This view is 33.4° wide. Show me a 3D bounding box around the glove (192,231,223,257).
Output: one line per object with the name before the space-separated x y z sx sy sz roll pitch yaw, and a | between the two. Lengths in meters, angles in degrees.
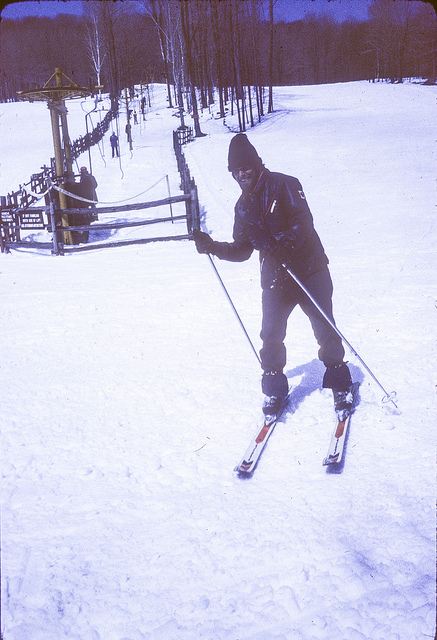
glove | -0.074 -0.534 5.166 0.123 0.228 0.095 -52 17 -18

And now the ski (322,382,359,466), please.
ski | 0.859 0.698 5.018 0.143 0.080 0.892 -7 19 26

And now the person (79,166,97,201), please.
person | -2.684 -2.878 15.378 0.291 0.669 1.250 -8 16 -9

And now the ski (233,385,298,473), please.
ski | 0.376 0.703 5.107 0.154 0.121 1.093 2 24 27

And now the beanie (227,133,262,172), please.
beanie | 0.170 -1.120 4.847 0.227 0.243 0.203 -12 18 -22
